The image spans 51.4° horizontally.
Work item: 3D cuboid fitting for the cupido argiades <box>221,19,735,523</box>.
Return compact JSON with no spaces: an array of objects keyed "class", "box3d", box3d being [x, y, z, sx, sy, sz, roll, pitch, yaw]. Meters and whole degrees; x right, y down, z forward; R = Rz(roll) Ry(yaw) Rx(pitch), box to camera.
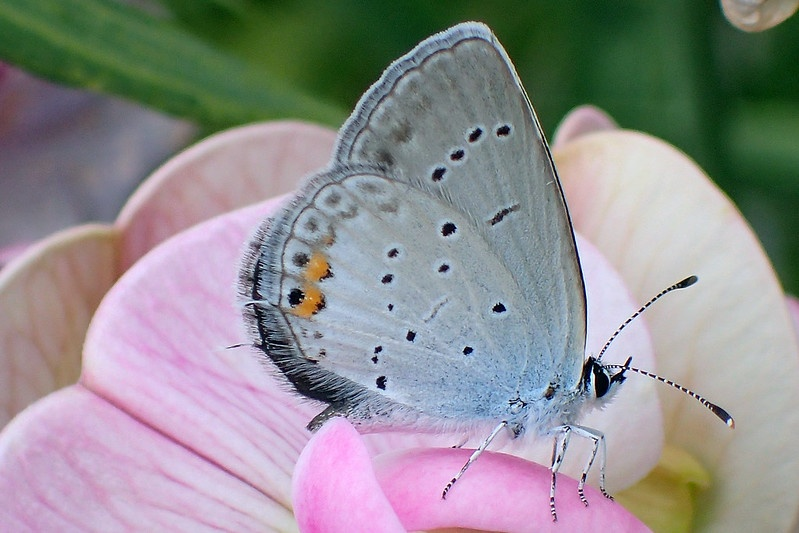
[{"class":"cupido argiades","box3d":[0.098,0.041,0.780,0.396,0.429,0.335,2,77,6]}]
